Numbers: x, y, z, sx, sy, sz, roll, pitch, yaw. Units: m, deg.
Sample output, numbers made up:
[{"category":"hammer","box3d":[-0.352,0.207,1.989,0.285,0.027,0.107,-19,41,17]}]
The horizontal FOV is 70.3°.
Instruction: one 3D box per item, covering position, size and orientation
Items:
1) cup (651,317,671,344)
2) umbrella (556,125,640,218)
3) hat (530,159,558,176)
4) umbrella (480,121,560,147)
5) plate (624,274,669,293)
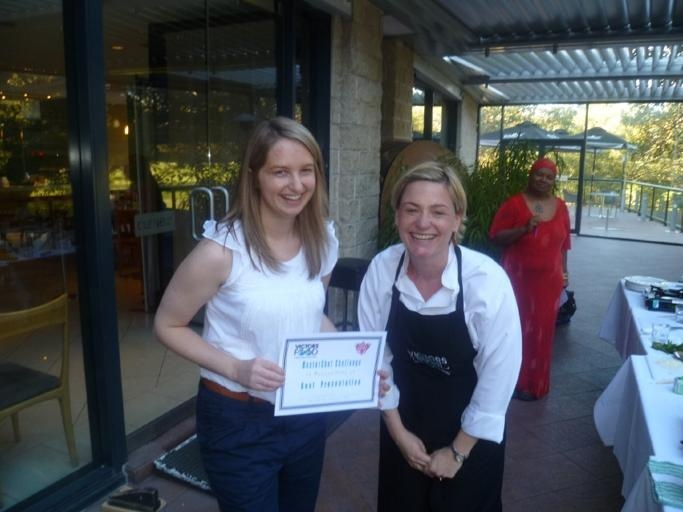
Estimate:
[{"category":"cup","box3d":[2.104,0.497,3.195,0.160,0.199,0.145,-1,-3,36]},{"category":"umbrella","box3d":[6.762,-2.428,13.401,2.409,2.543,1.134,-7,14,-33]},{"category":"hat","box3d":[1.737,-0.765,4.164,0.166,0.141,0.170,0,7,-37]},{"category":"umbrella","box3d":[4.824,-3.271,13.047,2.114,0.674,1.415,3,13,7]},{"category":"plate","box3d":[2.554,0.234,4.197,0.201,0.060,0.217,-2,11,-5]}]
